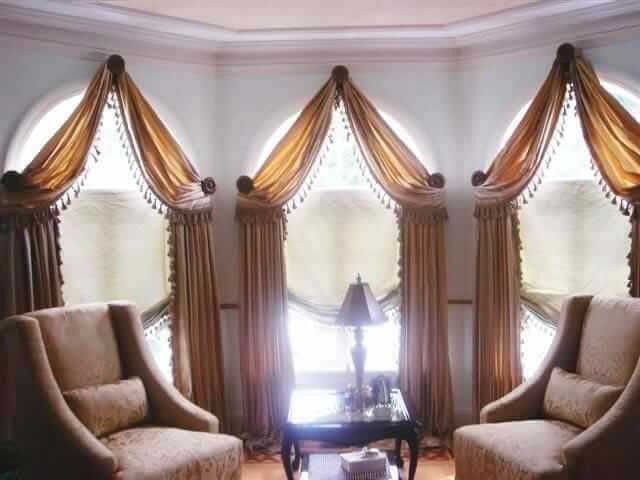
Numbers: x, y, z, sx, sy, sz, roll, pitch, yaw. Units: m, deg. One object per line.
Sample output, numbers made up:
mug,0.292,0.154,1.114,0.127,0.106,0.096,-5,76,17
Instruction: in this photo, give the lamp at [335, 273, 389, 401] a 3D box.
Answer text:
lamp,0.295,0.700,4.454,0.363,0.711,0.334,-2,0,-43

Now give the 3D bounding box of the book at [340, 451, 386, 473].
book,0.286,1.448,3.957,0.310,0.105,0.144,-2,-1,-2

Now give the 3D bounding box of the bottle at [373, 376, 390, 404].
bottle,0.437,1.073,4.322,0.141,0.294,0.148,1,-2,0
